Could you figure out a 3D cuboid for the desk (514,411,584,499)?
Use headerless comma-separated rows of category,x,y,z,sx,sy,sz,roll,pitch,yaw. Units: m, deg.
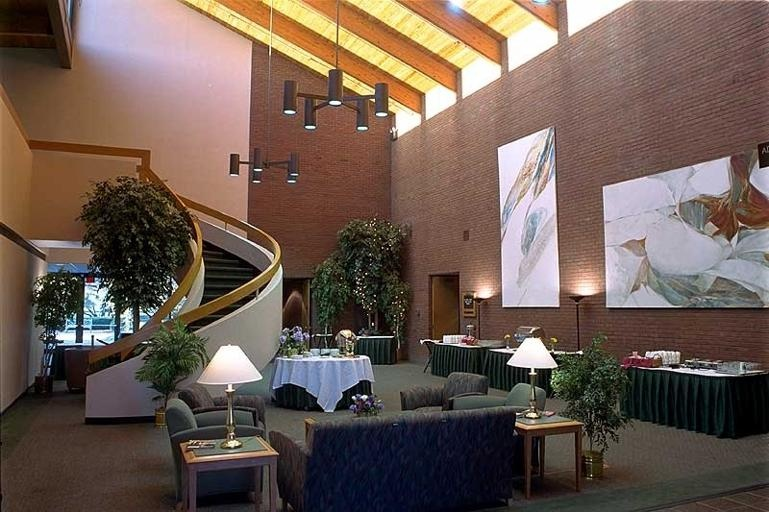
desk,2.034,2.298,6.529,0.930,0.879,0.816,6,-12,-37

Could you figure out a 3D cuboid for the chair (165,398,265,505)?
chair,-2.100,2.270,6.733,1.178,1.031,1.151,3,-3,-30

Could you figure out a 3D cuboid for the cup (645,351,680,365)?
cup,4.591,1.698,8.936,0.541,0.209,0.149,1,-7,-2

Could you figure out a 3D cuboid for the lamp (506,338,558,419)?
lamp,2.129,1.664,7.787,0.583,0.964,2.794,-2,-8,15

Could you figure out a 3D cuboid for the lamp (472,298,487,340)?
lamp,2.411,1.545,13.740,0.145,1.074,0.407,4,-8,-29

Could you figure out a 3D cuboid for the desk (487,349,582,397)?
desk,2.375,1.854,8.514,1.469,0.596,1.489,0,-7,0

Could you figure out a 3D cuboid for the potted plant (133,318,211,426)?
potted plant,-3.398,2.011,8.836,1.060,1.483,0.974,13,-2,16

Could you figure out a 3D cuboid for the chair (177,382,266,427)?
chair,-2.219,2.192,7.441,0.897,0.816,0.841,1,-6,-18

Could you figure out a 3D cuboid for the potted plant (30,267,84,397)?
potted plant,-6.975,1.435,11.598,0.913,2.084,0.774,24,-17,-35

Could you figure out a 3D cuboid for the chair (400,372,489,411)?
chair,0.887,1.963,7.775,0.764,0.636,0.800,4,-13,-16
